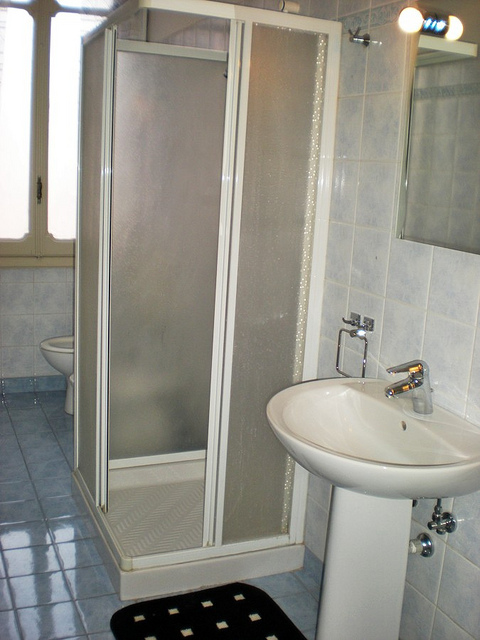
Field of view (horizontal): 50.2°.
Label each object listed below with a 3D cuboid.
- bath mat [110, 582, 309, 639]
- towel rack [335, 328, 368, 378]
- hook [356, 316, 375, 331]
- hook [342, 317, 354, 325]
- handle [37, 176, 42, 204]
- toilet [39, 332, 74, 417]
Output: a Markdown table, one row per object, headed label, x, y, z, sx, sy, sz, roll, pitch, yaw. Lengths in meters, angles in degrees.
| label | x | y | z | sx | sy | sz | roll | pitch | yaw |
| --- | --- | --- | --- | --- | --- | --- | --- | --- | --- |
| bath mat | -0.115 | 0.957 | 1.632 | 0.577 | 0.033 | 0.296 | 0 | 9 | -18 |
| towel rack | 0.339 | 0.104 | 1.595 | 0.082 | 0.176 | 0.203 | 1 | 8 | -10 |
| hook | 0.378 | 0.011 | 1.544 | 0.031 | 0.045 | 0.043 | -3 | 11 | -23 |
| hook | 0.330 | 0.004 | 1.574 | 0.019 | 0.008 | 0.028 | 6 | 7 | -23 |
| handle | -1.354 | -0.877 | 3.450 | 0.030 | 0.173 | 0.023 | 0 | 8 | -12 |
| toilet | -1.236 | 0.368 | 3.458 | 0.205 | 0.471 | 0.488 | -1 | 9 | -20 |
